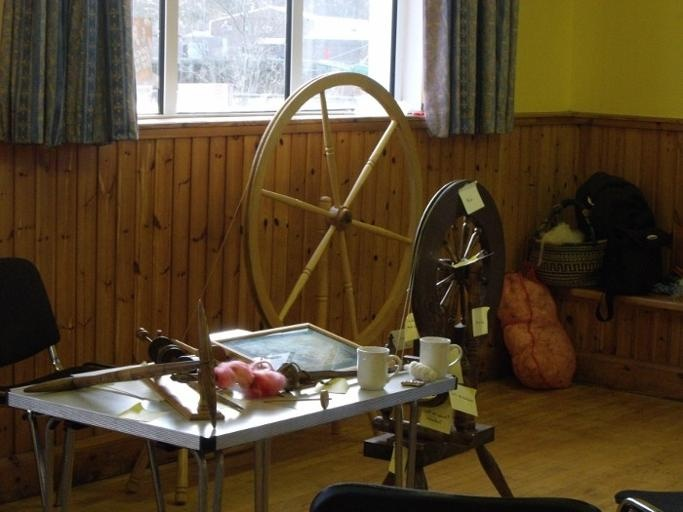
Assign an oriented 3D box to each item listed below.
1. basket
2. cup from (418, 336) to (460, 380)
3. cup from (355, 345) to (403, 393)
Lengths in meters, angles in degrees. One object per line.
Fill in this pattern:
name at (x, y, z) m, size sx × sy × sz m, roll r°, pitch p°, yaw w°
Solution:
basket at (1.461, -0.073, 4.088) m, size 0.464 × 0.572 × 0.210 m, roll 4°, pitch 8°, yaw 20°
cup at (0.295, 0.311, 1.894) m, size 0.143 × 0.143 × 0.093 m, roll 5°, pitch -3°, yaw -28°
cup at (0.116, 0.310, 1.771) m, size 0.138 × 0.123 × 0.087 m, roll 5°, pitch -6°, yaw -22°
